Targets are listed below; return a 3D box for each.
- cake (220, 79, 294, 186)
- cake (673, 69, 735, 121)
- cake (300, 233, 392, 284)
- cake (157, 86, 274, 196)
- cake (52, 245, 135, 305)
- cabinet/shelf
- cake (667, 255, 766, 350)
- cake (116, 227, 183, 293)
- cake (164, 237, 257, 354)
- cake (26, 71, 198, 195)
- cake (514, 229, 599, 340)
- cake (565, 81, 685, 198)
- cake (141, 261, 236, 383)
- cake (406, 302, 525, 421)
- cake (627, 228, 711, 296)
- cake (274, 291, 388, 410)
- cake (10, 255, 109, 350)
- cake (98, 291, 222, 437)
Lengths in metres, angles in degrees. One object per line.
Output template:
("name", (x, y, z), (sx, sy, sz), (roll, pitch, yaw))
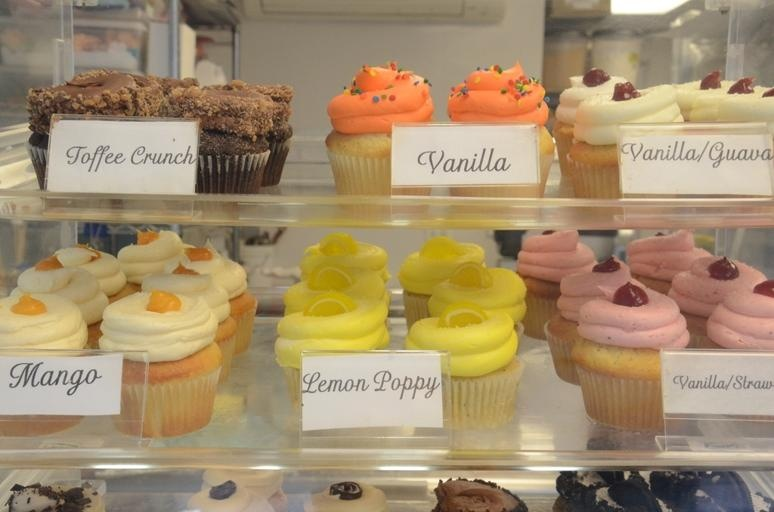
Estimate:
("cake", (-0.450, -0.376, 2.817), (0.264, 0.278, 0.269), (-10, 23, -38))
("cake", (0.996, -0.504, 2.724), (0.228, 0.119, 0.214), (-1, 21, 33))
("cake", (-0.147, -0.004, 2.960), (0.226, 0.114, 0.216), (2, 2, 33))
("cake", (-0.486, -0.348, 2.603), (0.349, 0.280, 0.364), (2, 7, -7))
("cake", (-0.962, 0.055, 2.748), (0.215, 0.104, 0.190), (2, 7, 0))
("cabinet/shelf", (-0.136, 0.222, 2.605), (2.344, 1.209, 0.710), (-2, 14, 6))
("cake", (1.031, 0.115, 2.698), (0.316, 0.165, 0.312), (-23, 21, -39))
("cake", (-0.814, -0.017, 2.951), (0.238, 0.120, 0.210), (-1, 23, 12))
("cake", (-0.626, 0.154, 2.970), (0.416, 0.371, 0.361), (-2, 4, -14))
("cake", (-0.854, -0.366, 2.544), (0.478, 0.266, 0.383), (-7, 12, -37))
("cake", (0.649, 0.105, 3.130), (0.355, 0.366, 0.315), (0, 13, -13))
("cake", (0.713, -0.380, 2.742), (0.390, 0.304, 0.380), (5, 18, 25))
("cake", (-0.577, 0.187, 2.723), (0.419, 0.337, 0.367), (-1, 5, -23))
("cake", (0.290, 0.318, 2.621), (0.410, 0.289, 0.373), (-1, 13, 13))
("cake", (0.964, 0.007, 2.968), (0.250, 0.147, 0.253), (-17, 16, -35))
("cake", (-0.161, 0.272, 2.741), (0.398, 0.305, 0.395), (-4, 11, 16))
("cake", (-1.013, 0.133, 2.770), (0.330, 0.200, 0.293), (-2, 9, -4))
("cake", (-0.704, 0.310, 2.638), (0.382, 0.376, 0.363), (3, 12, 15))
